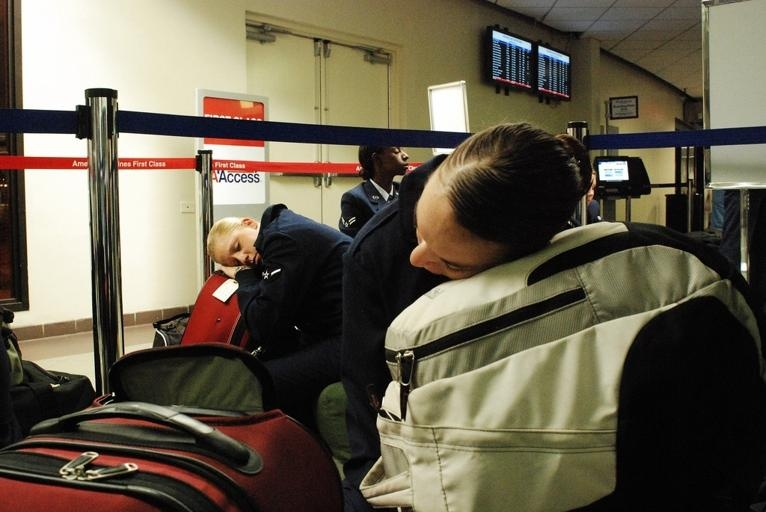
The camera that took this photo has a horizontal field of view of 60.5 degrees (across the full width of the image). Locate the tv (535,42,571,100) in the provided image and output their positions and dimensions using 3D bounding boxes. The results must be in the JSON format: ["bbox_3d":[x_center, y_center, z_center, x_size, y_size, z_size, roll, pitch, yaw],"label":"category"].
[{"bbox_3d":[2.157,-2.335,8.374,0.174,0.602,0.926,4,6,34],"label":"tv"}]

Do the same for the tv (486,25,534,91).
[{"bbox_3d":[1.449,-2.296,7.632,0.088,0.733,0.872,0,1,42],"label":"tv"}]
